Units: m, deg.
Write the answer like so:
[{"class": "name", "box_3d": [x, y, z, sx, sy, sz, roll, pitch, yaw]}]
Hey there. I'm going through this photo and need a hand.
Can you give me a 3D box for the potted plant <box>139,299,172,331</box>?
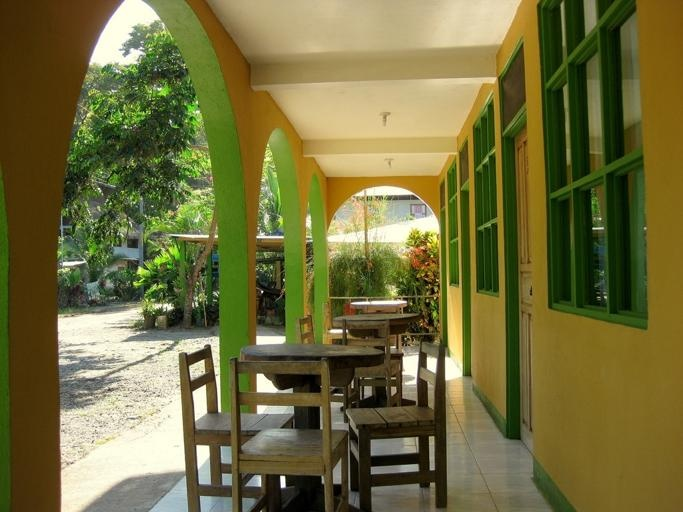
[{"class": "potted plant", "box_3d": [-4.784, 1.537, 14.328, 0.774, 0.705, 0.954, 2, -4, -22]}]
